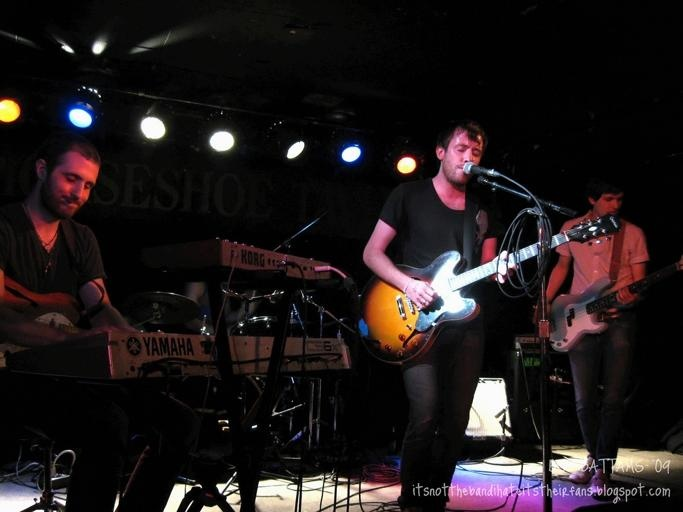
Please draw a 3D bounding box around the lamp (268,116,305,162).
[{"bbox_3d":[-0.588,-1.367,7.391,0.320,0.376,0.462,0,-12,22],"label":"lamp"}]

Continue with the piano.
[{"bbox_3d":[-0.842,0.561,3.572,1.792,0.345,0.452,10,-13,-29],"label":"piano"}]

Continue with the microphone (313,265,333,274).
[{"bbox_3d":[-0.116,0.078,4.091,0.117,0.061,0.061,4,-11,1],"label":"microphone"}]

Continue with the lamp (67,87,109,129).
[{"bbox_3d":[-2.600,-1.534,6.414,0.298,0.420,0.276,8,-12,-18],"label":"lamp"}]

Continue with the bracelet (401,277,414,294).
[{"bbox_3d":[0.468,0.216,4.369,0.063,0.083,0.085,15,13,41],"label":"bracelet"}]

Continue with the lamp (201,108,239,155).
[{"bbox_3d":[-1.333,-1.432,7.152,0.345,0.369,0.300,6,-12,-11],"label":"lamp"}]

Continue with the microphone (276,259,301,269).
[{"bbox_3d":[-0.320,0.048,3.833,0.089,0.040,0.139,9,0,-40],"label":"microphone"}]

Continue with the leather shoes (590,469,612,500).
[{"bbox_3d":[2.076,1.827,5.046,0.145,0.226,0.156,0,-12,21],"label":"leather shoes"}]

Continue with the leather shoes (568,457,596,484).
[{"bbox_3d":[2.088,1.857,5.386,0.357,0.144,0.115,21,-25,-33],"label":"leather shoes"}]

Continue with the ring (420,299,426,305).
[{"bbox_3d":[0.568,0.313,4.288,0.033,0.032,0.010,0,-5,22],"label":"ring"}]
